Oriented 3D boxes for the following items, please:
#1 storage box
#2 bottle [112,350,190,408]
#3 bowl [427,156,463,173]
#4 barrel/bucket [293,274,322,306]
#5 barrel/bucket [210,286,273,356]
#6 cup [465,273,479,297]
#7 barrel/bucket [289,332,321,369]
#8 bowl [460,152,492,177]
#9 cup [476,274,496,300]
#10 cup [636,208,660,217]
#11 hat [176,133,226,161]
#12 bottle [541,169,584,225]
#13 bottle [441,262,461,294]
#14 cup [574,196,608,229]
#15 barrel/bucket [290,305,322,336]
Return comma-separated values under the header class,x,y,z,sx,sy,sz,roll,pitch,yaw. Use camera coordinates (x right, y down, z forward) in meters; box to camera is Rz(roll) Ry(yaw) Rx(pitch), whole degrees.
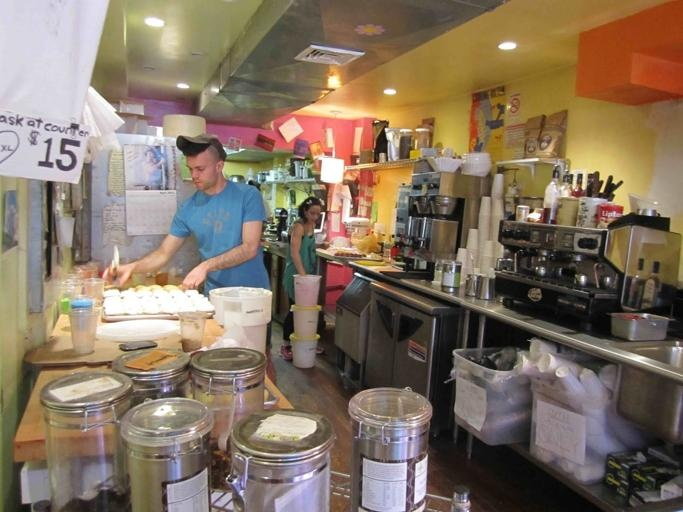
class,x,y,z,sx,sy,sz,roll,pitch,yaw
storage box,1.167,0.815,2.841,0.874,0.524,0.638,2,2,-11
bottle,-0.496,0.302,1.370,0.155,0.145,0.147,0,4,-22
bowl,0.860,-0.746,4.216,0.288,0.130,0.268,1,8,0
barrel/bucket,-0.296,0.314,4.776,0.294,0.235,0.243,4,-3,-44
barrel/bucket,-0.379,0.233,2.115,0.297,0.316,0.289,1,4,0
cup,0.895,0.190,3.555,0.077,0.148,0.201,3,9,11
barrel/bucket,-0.339,0.890,4.912,0.322,0.247,0.299,1,1,0
bowl,1.089,-0.752,4.228,0.227,0.169,0.216,-1,9,0
cup,0.929,0.209,3.440,0.122,0.143,0.158,2,-2,2
cup,1.587,-0.232,2.702,0.081,0.044,0.078,0,5,0
hat,-0.807,-0.635,3.022,0.153,0.070,0.227,15,2,20
bottle,1.364,-0.384,3.226,0.195,0.346,0.443,5,9,22
bottle,0.800,0.138,3.786,0.130,0.193,0.122,1,9,0
cup,1.420,-0.254,2.939,0.146,0.164,0.100,5,10,22
barrel/bucket,-0.312,0.595,4.858,0.304,0.241,0.293,2,1,0
